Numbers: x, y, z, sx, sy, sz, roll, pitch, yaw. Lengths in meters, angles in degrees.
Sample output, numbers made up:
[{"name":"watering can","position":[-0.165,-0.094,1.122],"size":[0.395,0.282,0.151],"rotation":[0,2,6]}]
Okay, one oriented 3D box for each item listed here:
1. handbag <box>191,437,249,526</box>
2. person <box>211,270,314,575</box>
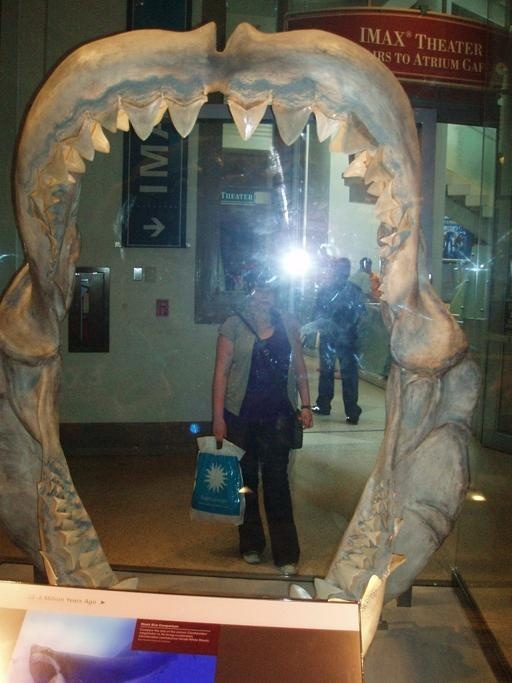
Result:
[{"name":"handbag","position":[-0.113,0.431,1.999],"size":[0.163,0.276,0.127],"rotation":[5,-3,-9]},{"name":"person","position":[0.020,0.276,2.101],"size":[0.276,0.965,0.403],"rotation":[3,-3,20]}]
